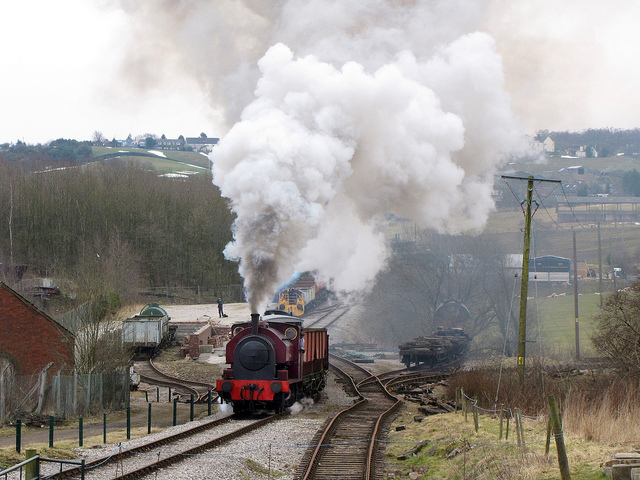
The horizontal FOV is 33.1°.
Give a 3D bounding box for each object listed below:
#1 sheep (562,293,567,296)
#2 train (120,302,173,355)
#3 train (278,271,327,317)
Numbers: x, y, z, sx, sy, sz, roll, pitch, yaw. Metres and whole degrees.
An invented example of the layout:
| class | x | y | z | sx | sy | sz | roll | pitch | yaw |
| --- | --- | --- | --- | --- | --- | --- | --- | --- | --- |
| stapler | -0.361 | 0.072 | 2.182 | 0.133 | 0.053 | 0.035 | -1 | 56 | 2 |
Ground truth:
| class | x | y | z | sx | sy | sz | roll | pitch | yaw |
| --- | --- | --- | --- | --- | --- | --- | --- | --- | --- |
| sheep | 21.850 | 4.992 | 95.773 | 0.196 | 0.260 | 0.666 | -3 | 3 | 4 |
| train | -11.448 | 5.973 | 71.727 | 1.805 | 2.179 | 5.156 | -1 | -2 | 0 |
| train | -1.365 | 4.295 | 82.163 | 2.838 | 3.354 | 17.119 | 0 | 3 | 4 |
